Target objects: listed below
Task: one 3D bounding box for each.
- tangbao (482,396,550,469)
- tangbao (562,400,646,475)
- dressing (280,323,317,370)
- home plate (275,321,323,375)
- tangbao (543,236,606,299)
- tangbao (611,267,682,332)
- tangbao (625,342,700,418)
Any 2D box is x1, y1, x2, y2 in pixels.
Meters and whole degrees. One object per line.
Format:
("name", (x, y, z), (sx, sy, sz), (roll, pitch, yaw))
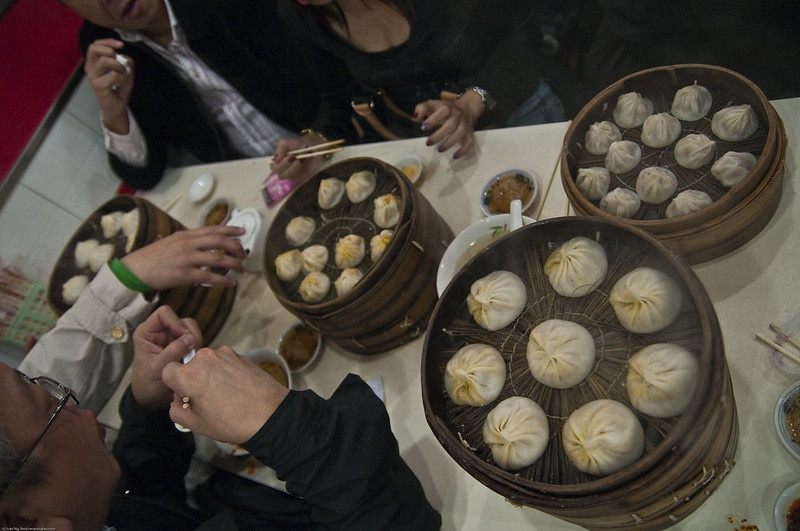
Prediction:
("tangbao", (0.595, 0.851, 2.822), (0.314, 0.118, 0.308), (-24, 60, -1))
("tangbao", (0.991, 0.839, 2.716), (0.372, 0.117, 0.320), (-24, 60, -1))
("dressing", (-0.719, 0.582, 3.943), (0.290, 0.073, 0.318), (-4, 72, 19))
("home plate", (-0.715, 0.589, 3.938), (0.331, 0.082, 0.364), (-6, 73, 11))
("tangbao", (0.922, 0.012, 2.907), (0.290, 0.185, 0.308), (-15, 65, 31))
("tangbao", (1.253, 0.175, 2.822), (0.314, 0.138, 0.306), (-28, 60, -3))
("tangbao", (1.276, 0.548, 2.771), (0.325, 0.309, 0.333), (38, 106, 33))
